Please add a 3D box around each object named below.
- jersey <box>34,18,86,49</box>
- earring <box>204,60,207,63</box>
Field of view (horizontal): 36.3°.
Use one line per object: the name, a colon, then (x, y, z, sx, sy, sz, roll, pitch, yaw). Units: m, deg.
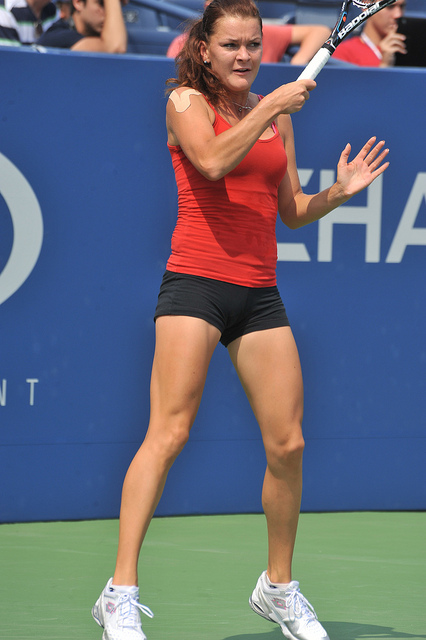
jersey: (-0.811, -1.514, 3.454, 0.237, 0.117, 0.225, -3, 50, 14)
earring: (-0.017, -0.656, 1.648, 0.009, 0.008, 0.002, -1, 0, 0)
